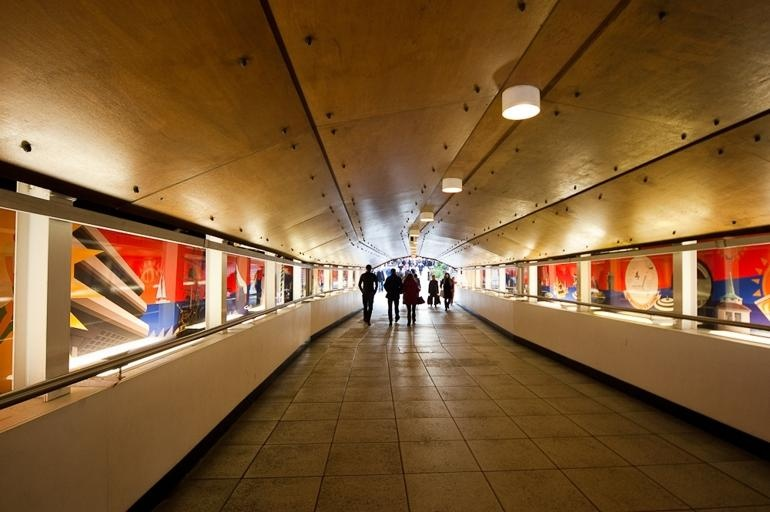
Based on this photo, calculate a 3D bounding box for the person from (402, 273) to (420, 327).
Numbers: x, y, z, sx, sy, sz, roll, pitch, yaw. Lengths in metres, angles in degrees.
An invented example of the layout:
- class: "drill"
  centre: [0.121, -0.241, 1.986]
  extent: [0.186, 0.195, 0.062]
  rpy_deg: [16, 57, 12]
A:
- class: "person"
  centre: [0.768, 1.329, 13.628]
  extent: [0.488, 1.659, 1.236]
  rpy_deg: [0, 5, 2]

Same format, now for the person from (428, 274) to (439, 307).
- class: "person"
  centre: [2.156, 1.564, 19.631]
  extent: [0.443, 1.473, 1.000]
  rpy_deg: [0, 5, 5]

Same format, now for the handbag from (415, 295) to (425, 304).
- class: "handbag"
  centre: [1.075, 1.422, 14.220]
  extent: [0.091, 0.319, 0.349]
  rpy_deg: [-29, -17, 29]

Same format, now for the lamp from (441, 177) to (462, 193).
- class: "lamp"
  centre: [1.012, -1.100, 6.666]
  extent: [0.271, 0.189, 0.277]
  rpy_deg: [-1, 5, -3]

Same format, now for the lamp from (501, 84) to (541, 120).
- class: "lamp"
  centre: [1.284, -1.439, 4.169]
  extent: [0.334, 0.194, 0.328]
  rpy_deg: [-3, -9, 9]
